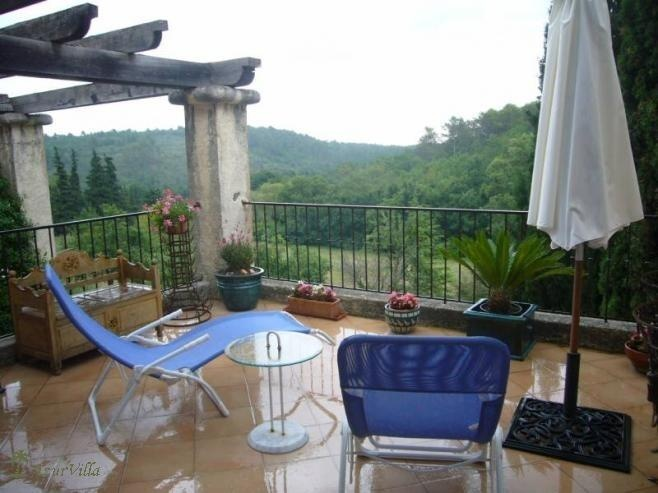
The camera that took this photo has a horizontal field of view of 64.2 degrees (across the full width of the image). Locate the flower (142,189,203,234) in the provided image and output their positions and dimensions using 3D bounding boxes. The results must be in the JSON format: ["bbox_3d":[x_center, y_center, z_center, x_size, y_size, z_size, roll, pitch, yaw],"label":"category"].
[{"bbox_3d":[-1.693,-0.381,5.700,0.553,0.480,0.623,-4,7,-5],"label":"flower"}]

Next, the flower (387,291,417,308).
[{"bbox_3d":[0.704,0.525,5.090,0.182,0.114,0.187,-2,2,-43],"label":"flower"}]

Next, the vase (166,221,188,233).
[{"bbox_3d":[-1.587,-0.215,5.503,0.137,0.070,0.136,-7,10,-41],"label":"vase"}]

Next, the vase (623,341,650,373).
[{"bbox_3d":[2.442,0.888,4.139,0.169,0.113,0.173,-1,1,2],"label":"vase"}]

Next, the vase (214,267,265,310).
[{"bbox_3d":[-0.979,0.456,5.891,0.448,0.348,0.458,-1,1,-4],"label":"vase"}]

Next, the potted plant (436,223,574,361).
[{"bbox_3d":[1.642,0.277,4.985,1.163,1.099,1.119,4,9,37],"label":"potted plant"}]

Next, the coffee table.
[{"bbox_3d":[-0.348,0.896,3.743,0.733,0.882,0.746,-3,12,-11],"label":"coffee table"}]

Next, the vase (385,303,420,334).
[{"bbox_3d":[0.708,0.708,5.123,0.276,0.205,0.283,0,1,-3],"label":"vase"}]
